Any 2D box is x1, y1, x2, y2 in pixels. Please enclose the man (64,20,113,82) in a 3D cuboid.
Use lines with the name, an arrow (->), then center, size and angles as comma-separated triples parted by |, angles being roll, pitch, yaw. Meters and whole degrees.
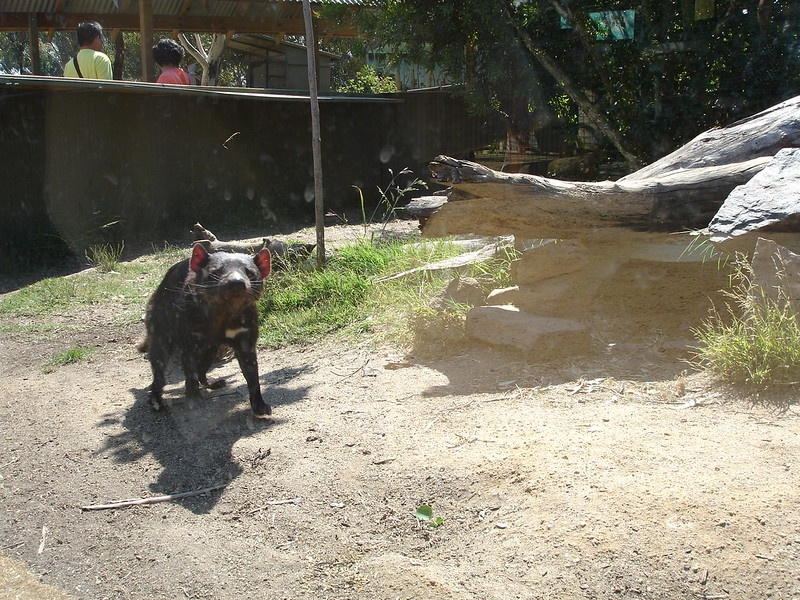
man -> -4.065, -3.250, 10.387 | 0.605, 0.707, 0.909 | -15, 16, -36

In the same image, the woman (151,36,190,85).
woman -> -3.191, -3.299, 10.959 | 0.426, 0.627, 0.734 | -9, 14, -14

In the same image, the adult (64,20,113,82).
adult -> -4.095, -3.237, 10.343 | 0.606, 0.707, 0.893 | -12, 15, -26
